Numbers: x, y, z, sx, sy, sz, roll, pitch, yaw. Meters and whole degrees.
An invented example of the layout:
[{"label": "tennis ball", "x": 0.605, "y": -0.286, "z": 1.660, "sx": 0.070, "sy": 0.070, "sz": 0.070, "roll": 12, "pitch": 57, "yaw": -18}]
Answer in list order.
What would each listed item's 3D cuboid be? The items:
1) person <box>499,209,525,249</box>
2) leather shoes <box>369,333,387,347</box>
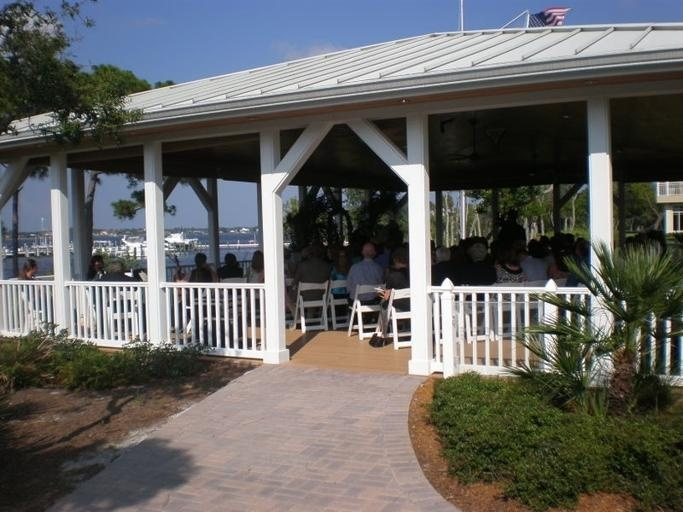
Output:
[{"label": "person", "x": 3.792, "y": -0.623, "z": 16.622, "sx": 0.473, "sy": 0.481, "sz": 1.499, "roll": 20, "pitch": 32, "yaw": 14}, {"label": "leather shoes", "x": 0.552, "y": 1.291, "z": 11.282, "sx": 0.148, "sy": 0.282, "sz": 0.269, "roll": 6, "pitch": 2, "yaw": -35}]
